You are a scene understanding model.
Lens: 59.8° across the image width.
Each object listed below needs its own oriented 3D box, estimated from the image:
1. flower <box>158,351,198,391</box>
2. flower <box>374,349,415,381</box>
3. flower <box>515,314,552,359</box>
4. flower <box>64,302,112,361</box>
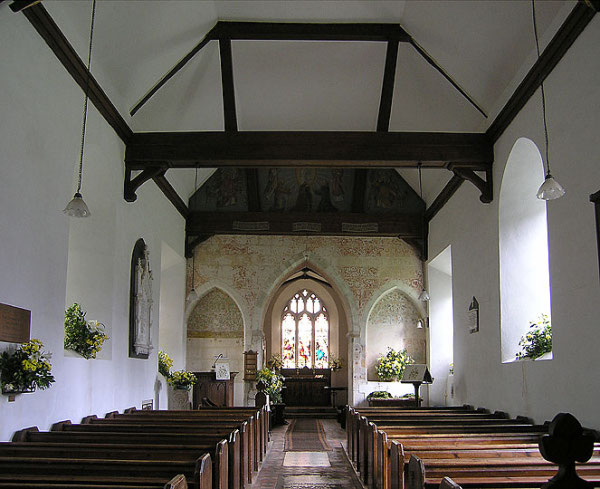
[{"bbox_3d":[-2.909,2.944,12.114,0.458,0.778,1.033,-13,-19,41],"label":"flower"},{"bbox_3d":[2.548,3.334,14.189,0.780,0.912,0.823,-9,-26,36],"label":"flower"},{"bbox_3d":[3.629,1.481,8.111,0.667,0.474,0.571,-12,10,-42],"label":"flower"},{"bbox_3d":[-3.109,1.175,7.449,0.685,0.764,0.386,17,-36,-26],"label":"flower"}]
